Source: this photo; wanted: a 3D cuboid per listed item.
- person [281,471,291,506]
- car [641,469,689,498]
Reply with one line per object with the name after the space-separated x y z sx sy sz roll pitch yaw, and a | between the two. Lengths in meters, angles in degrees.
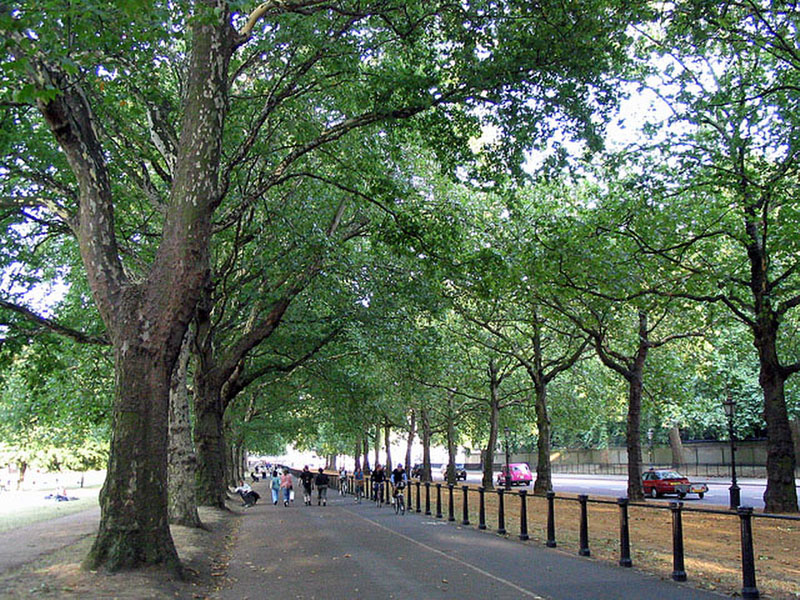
-5.918 9.845 35.893 0.411 1.728 1.236 2 -15 -6 | person
15.001 10.387 39.011 1.309 1.604 3.382 4 -17 -14 | car
